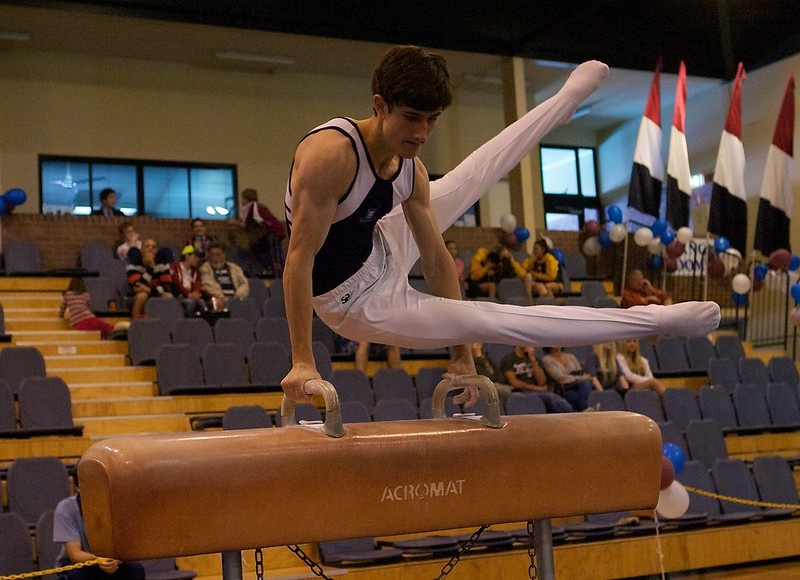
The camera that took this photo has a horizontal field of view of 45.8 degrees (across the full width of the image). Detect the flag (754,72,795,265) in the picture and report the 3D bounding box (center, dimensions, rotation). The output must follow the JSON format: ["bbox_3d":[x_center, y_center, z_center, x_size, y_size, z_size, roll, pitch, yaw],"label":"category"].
[{"bbox_3d":[6.345,-2.086,15.861,0.673,3.055,0.423,1,5,-27],"label":"flag"}]

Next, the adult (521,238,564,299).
[{"bbox_3d":[2.100,-0.196,14.514,0.732,1.235,0.490,1,-6,-25],"label":"adult"}]

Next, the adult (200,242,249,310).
[{"bbox_3d":[-2.428,-0.185,13.159,0.677,0.808,0.944,2,5,-22],"label":"adult"}]

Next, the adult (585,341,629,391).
[{"bbox_3d":[2.541,0.917,11.648,0.401,0.801,0.717,-1,-4,-9],"label":"adult"}]

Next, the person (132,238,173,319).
[{"bbox_3d":[-3.330,-0.157,12.686,0.564,1.032,0.889,1,5,-30],"label":"person"}]

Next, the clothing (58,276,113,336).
[{"bbox_3d":[-4.034,0.231,12.254,0.393,0.689,0.804,-1,7,-45],"label":"clothing"}]

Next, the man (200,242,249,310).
[{"bbox_3d":[-2.421,-0.183,13.160,0.696,0.811,0.924,2,5,-28],"label":"man"}]

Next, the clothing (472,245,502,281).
[{"bbox_3d":[1.269,-0.392,14.217,0.368,0.502,0.141,-4,-23,40],"label":"clothing"}]

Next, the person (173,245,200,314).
[{"bbox_3d":[-2.844,-0.176,12.759,0.387,0.834,0.827,2,5,-14],"label":"person"}]

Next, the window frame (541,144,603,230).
[{"bbox_3d":[3.784,-2.292,21.396,1.922,2.599,0.102,12,-23,-40],"label":"window frame"}]
